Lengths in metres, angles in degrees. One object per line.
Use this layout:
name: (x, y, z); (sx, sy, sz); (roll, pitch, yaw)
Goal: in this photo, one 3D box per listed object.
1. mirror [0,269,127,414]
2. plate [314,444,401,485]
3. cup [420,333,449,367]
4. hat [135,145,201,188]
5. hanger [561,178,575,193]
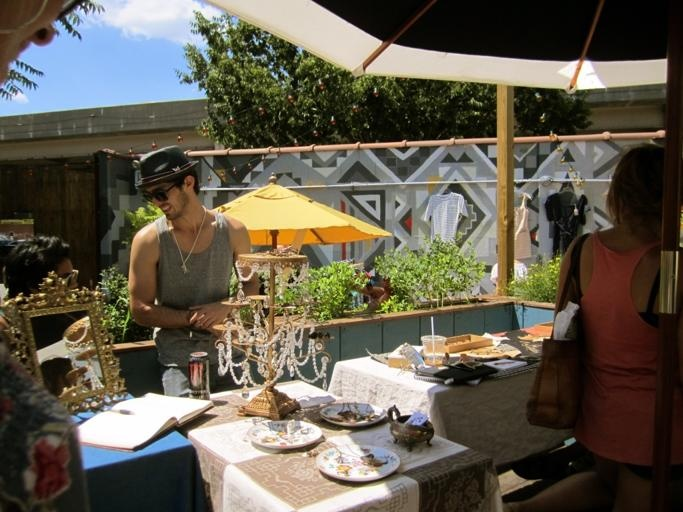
mirror: (-1.281, 0.395, 2.526); (0.270, 0.627, 0.513); (10, 9, 42)
plate: (0.064, 0.866, 2.283); (0.324, 0.049, 0.304); (-3, 11, -45)
cup: (0.680, 0.708, 4.058); (0.172, 0.168, 0.174); (0, 2, 0)
hat: (-1.075, -0.566, 3.317); (0.448, 0.173, 0.348); (-30, 28, -35)
hanger: (4.601, -1.416, 11.188); (0.200, 0.216, 0.132); (14, 16, 28)
